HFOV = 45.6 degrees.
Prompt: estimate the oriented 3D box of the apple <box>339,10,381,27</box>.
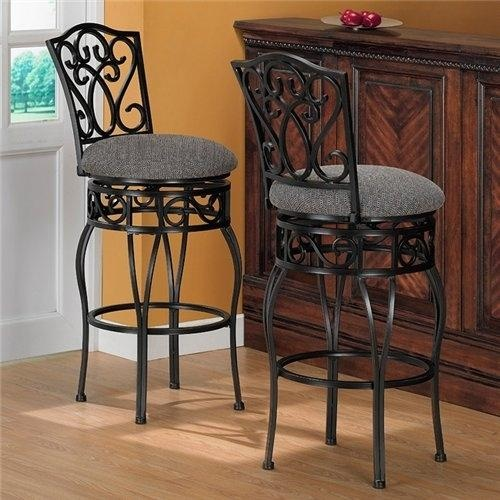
[{"bbox_3d":[0.446,-0.949,2.426,0.125,0.046,0.095,16,26,33],"label":"apple"}]
